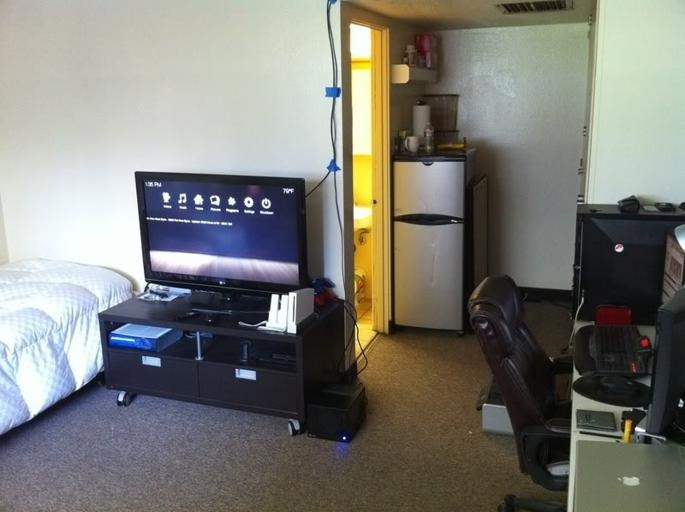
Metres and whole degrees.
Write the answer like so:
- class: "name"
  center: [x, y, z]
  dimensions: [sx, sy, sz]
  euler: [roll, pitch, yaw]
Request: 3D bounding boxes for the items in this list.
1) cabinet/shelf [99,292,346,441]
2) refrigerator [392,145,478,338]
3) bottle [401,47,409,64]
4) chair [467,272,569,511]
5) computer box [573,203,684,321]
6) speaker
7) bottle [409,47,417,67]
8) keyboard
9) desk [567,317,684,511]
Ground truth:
- class: "cabinet/shelf"
  center: [-0.832, 0.688, 3.784]
  dimensions: [1.534, 0.710, 0.554]
  euler: [2, 16, 16]
- class: "refrigerator"
  center: [0.744, -0.074, 4.635]
  dimensions: [0.655, 1.545, 0.188]
  euler: [2, 16, 17]
- class: "bottle"
  center: [0.528, -1.719, 4.660]
  dimensions: [0.043, 0.135, 0.078]
  euler: [9, 20, 38]
- class: "chair"
  center: [0.825, 0.555, 2.541]
  dimensions: [0.451, 0.826, 0.537]
  euler: [4, 17, 22]
- class: "computer box"
  center: [1.465, -0.013, 3.209]
  dimensions: [0.671, 0.786, 0.440]
  euler: [1, 10, 12]
- class: "speaker"
  center: [-0.046, 0.958, 3.486]
  dimensions: [0.285, 0.247, 0.401]
  euler: [3, 12, 23]
- class: "bottle"
  center: [0.601, -1.733, 4.715]
  dimensions: [0.063, 0.165, 0.156]
  euler: [5, 17, 27]
- class: "keyboard"
  center: [1.271, 0.445, 2.586]
  dimensions: [0.223, 0.059, 0.294]
  euler: [0, 22, 20]
- class: "desk"
  center: [1.033, 0.589, 1.990]
  dimensions: [0.288, 0.228, 0.968]
  euler: [1, 16, 15]
